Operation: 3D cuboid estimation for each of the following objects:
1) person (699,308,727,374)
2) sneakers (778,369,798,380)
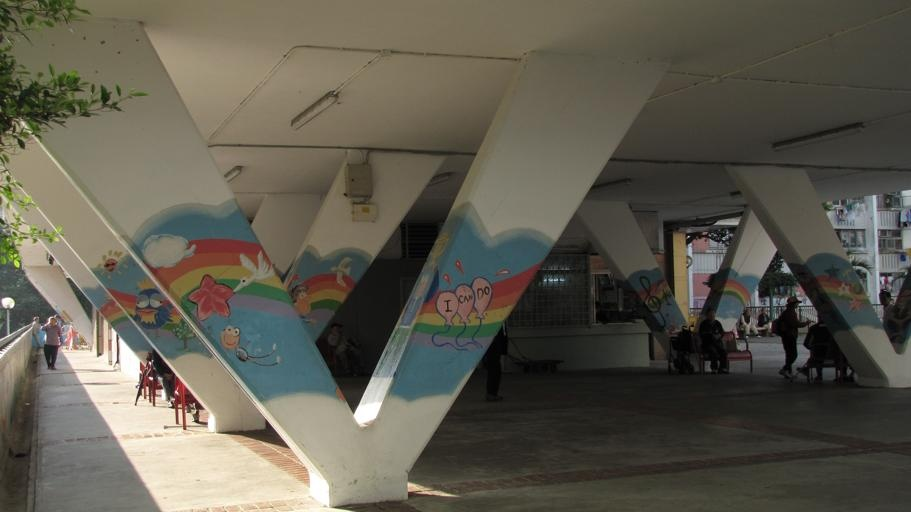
[{"bbox_3d":[7.240,2.404,16.374,0.800,1.221,0.459,-1,-2,-28],"label":"person"},{"bbox_3d":[8.665,3.094,15.216,0.550,0.228,0.200,12,-8,19],"label":"sneakers"}]
